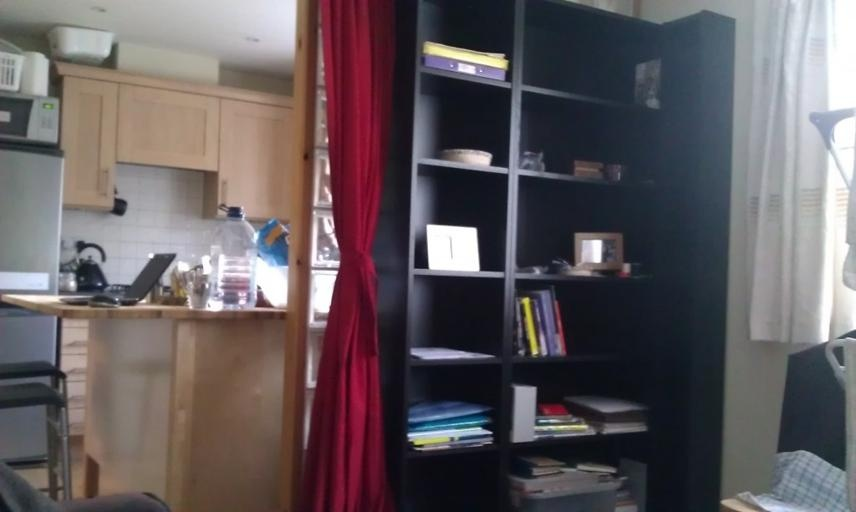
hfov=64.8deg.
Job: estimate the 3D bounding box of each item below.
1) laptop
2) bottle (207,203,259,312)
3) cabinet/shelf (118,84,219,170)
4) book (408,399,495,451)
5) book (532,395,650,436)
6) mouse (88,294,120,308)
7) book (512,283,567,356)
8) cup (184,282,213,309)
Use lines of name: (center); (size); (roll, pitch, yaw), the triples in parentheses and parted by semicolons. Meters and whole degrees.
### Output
laptop: (-1.820, 0.167, 3.973); (0.487, 0.280, 0.489); (13, -7, -33)
bottle: (-1.151, 0.014, 3.966); (0.268, 0.592, 0.155); (-1, -1, -4)
cabinet/shelf: (-2.370, -1.167, 6.067); (0.849, 0.664, 0.290); (1, -2, -28)
book: (0.126, 0.954, 3.800); (0.482, 0.225, 0.224); (-1, -1, 0)
book: (0.957, 0.970, 4.006); (0.352, 0.077, 0.340); (1, -2, -30)
mouse: (-1.799, 0.252, 3.735); (0.132, 0.039, 0.094); (5, 0, 11)
book: (0.654, 0.396, 3.988); (0.314, 0.398, 0.102); (-1, -1, -9)
cup: (-1.325, 0.227, 3.865); (0.151, 0.149, 0.144); (2, 1, 0)
